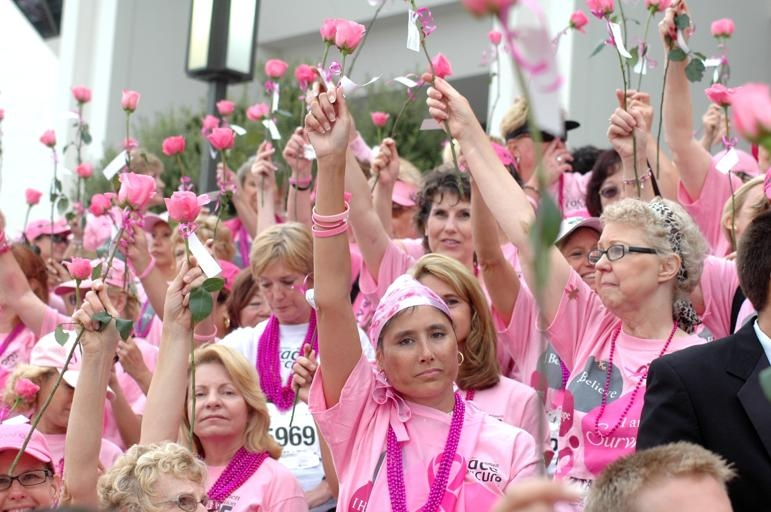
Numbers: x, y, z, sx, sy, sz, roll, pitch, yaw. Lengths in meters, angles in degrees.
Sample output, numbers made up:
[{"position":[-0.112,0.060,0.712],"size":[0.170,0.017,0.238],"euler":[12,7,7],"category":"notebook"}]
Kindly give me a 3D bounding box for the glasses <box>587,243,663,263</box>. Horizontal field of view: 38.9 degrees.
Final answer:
[{"position":[1.410,-0.016,6.490],"size":[0.394,0.112,0.076],"euler":[-1,3,15],"category":"glasses"}]
